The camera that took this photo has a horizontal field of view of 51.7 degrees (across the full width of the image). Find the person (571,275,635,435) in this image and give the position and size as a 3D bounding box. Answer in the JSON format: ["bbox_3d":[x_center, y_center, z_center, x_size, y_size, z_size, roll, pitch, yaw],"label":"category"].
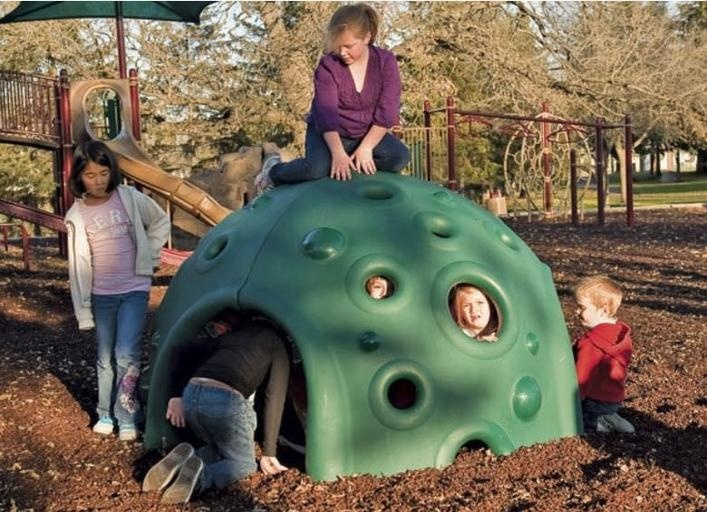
[{"bbox_3d":[2.021,0.785,5.870,0.480,1.175,0.477,1,12,11],"label":"person"}]

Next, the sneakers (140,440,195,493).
[{"bbox_3d":[-1.345,1.512,5.249,0.204,0.567,0.079,45,4,21],"label":"sneakers"}]

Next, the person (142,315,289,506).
[{"bbox_3d":[-0.980,1.109,5.402,1.039,1.114,0.753,-3,12,-5],"label":"person"}]

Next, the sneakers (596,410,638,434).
[{"bbox_3d":[2.098,1.318,5.863,0.323,0.155,0.140,-1,1,5],"label":"sneakers"}]

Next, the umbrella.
[{"bbox_3d":[-5.199,-4.595,15.564,3.979,1.601,2.510,-1,12,3],"label":"umbrella"}]

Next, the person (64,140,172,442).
[{"bbox_3d":[-2.051,0.245,6.185,0.708,2.371,0.732,0,12,8],"label":"person"}]

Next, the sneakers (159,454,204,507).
[{"bbox_3d":[-1.170,1.586,5.197,0.173,0.438,0.131,29,-10,24],"label":"sneakers"}]

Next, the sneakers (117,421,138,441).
[{"bbox_3d":[-1.853,1.436,6.014,0.157,0.116,0.148,-6,13,-19],"label":"sneakers"}]
